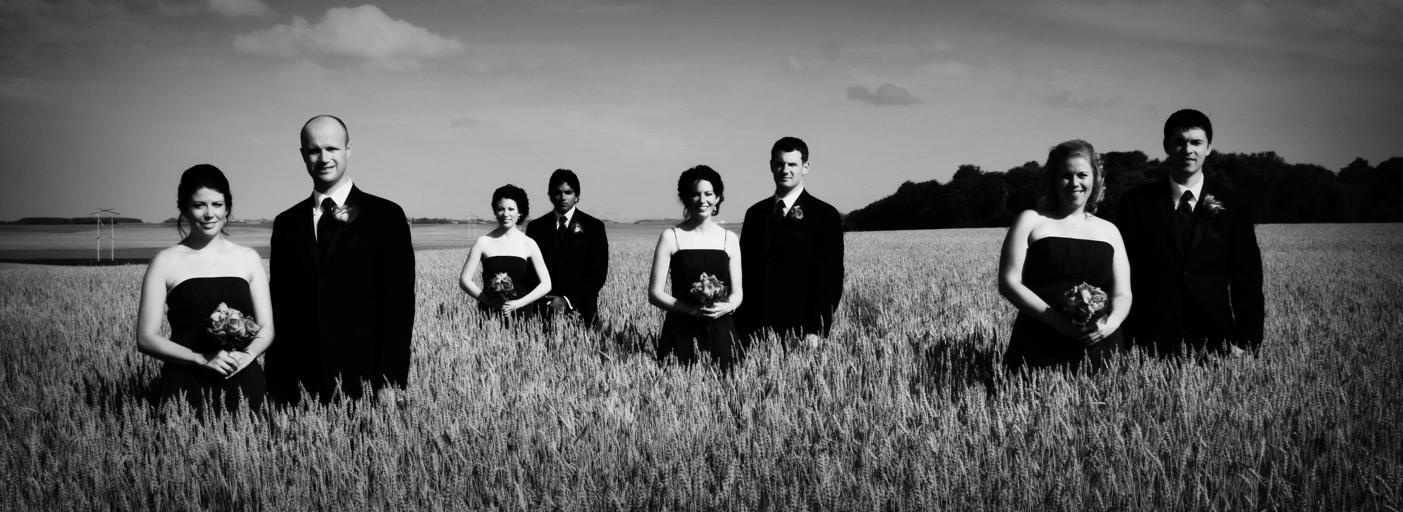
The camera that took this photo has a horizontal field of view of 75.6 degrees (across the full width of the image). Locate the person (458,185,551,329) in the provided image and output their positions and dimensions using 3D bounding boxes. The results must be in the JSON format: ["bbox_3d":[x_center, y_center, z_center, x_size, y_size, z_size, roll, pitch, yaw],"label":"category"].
[{"bbox_3d":[-4.023,-0.059,18.909,1.734,2.766,0.813,3,5,-4],"label":"person"}]
